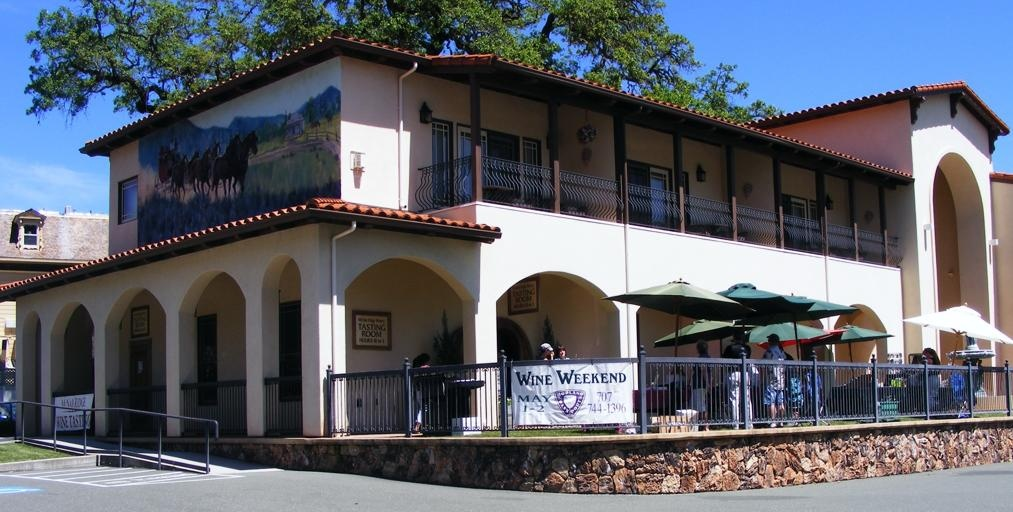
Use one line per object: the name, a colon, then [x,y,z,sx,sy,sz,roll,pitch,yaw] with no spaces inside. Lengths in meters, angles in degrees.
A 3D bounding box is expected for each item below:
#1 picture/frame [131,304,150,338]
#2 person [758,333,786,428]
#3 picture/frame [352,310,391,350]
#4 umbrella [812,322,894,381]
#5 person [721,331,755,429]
picture/frame: [-15.258,2.730,43.428,1.345,1.475,0.113,-6,-8,32]
person: [9.170,4.300,35.691,0.851,3.186,0.771,4,-1,-42]
picture/frame: [-5.076,2.745,38.560,1.480,1.304,0.102,4,-12,-32]
umbrella: [13.342,4.003,40.697,2.626,1.605,2.556,-1,4,4]
person: [7.855,4.369,35.209,0.947,2.887,0.984,3,0,-8]
